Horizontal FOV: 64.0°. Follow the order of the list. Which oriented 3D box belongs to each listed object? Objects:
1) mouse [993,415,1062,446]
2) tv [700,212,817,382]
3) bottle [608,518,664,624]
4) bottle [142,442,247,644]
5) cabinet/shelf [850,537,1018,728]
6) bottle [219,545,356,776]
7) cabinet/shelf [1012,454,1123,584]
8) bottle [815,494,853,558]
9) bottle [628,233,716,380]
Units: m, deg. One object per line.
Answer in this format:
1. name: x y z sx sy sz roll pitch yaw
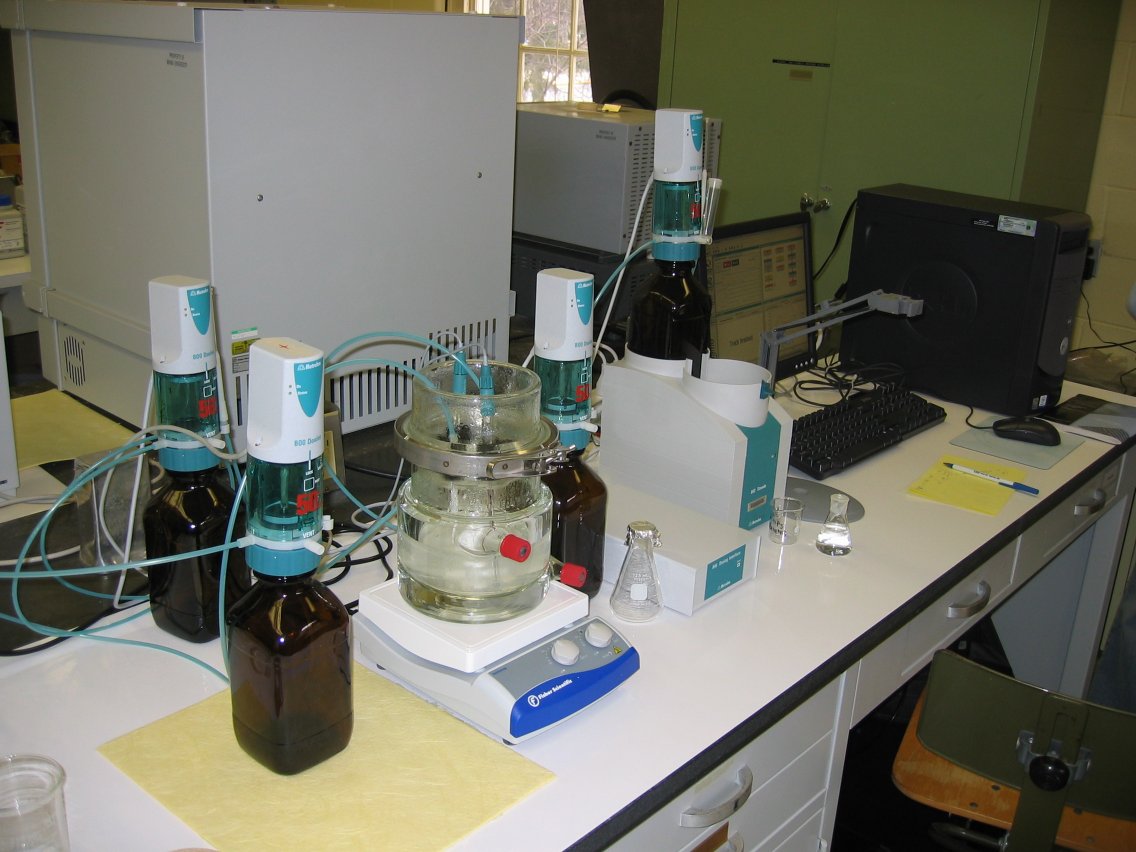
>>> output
1. mouse: 1.103 0.005 2.191 0.102 0.030 0.078 14 24 31
2. tv: 0.465 -0.317 2.231 0.045 0.477 0.436 8 3 42
3. bottle: 0.112 0.237 1.466 0.091 0.187 0.100 6 27 2
4. bottle: -0.540 0.182 1.331 0.142 0.263 0.143 0 22 0
5. cabinet/shelf: 0.630 0.382 1.727 0.394 0.099 0.362 -29 20 -38
6. bottle: -0.353 0.291 1.179 0.124 0.286 0.138 14 18 39
7. cabinet/shelf: 1.109 0.231 2.114 0.351 0.086 0.252 -31 36 -34
8. bottle: 0.503 0.178 1.709 0.059 0.122 0.067 5 25 10
9. bottle: 0.216 -0.249 1.798 0.138 0.241 0.163 8 14 14
